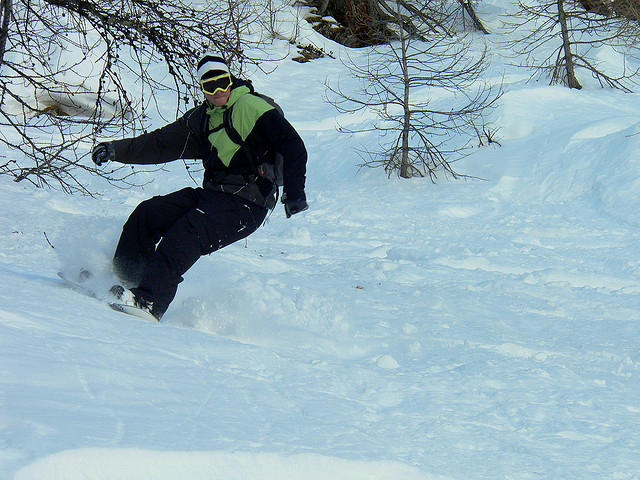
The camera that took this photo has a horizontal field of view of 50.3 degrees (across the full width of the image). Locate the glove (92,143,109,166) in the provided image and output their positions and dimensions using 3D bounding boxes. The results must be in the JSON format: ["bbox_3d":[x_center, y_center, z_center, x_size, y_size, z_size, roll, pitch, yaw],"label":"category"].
[{"bbox_3d":[-1.914,-0.742,5.943,0.141,0.209,0.224,-10,22,-15],"label":"glove"}]

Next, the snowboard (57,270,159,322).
[{"bbox_3d":[-2.053,0.395,6.063,0.342,0.177,2.204,15,-5,-42],"label":"snowboard"}]

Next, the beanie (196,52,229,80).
[{"bbox_3d":[-0.960,-1.552,6.194,0.312,0.151,0.321,-5,-6,-1],"label":"beanie"}]

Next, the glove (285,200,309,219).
[{"bbox_3d":[-0.223,-0.276,6.042,0.183,0.200,0.237,-5,20,-4],"label":"glove"}]
